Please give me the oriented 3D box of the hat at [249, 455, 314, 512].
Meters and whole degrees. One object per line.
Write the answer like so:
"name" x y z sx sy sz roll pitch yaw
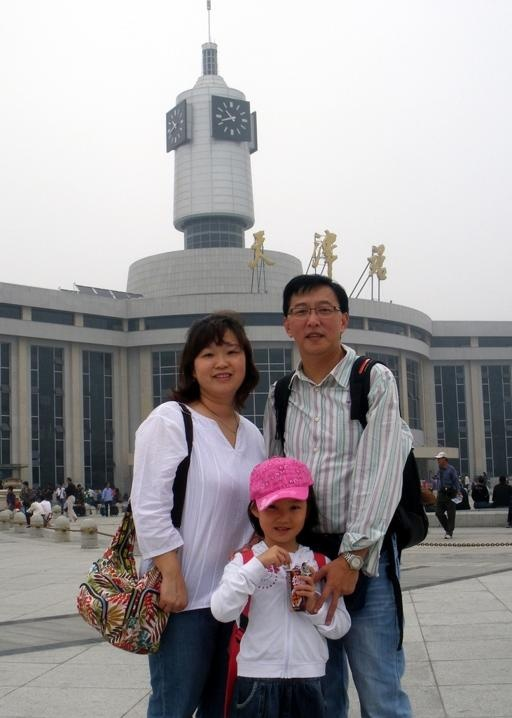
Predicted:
"hat" 0.078 0.441 2.543 0.237 0.179 0.311 -14 -11 16

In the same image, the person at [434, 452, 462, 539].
"person" 3.907 2.856 14.796 0.734 1.714 0.529 -9 -20 31

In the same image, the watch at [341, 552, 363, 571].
"watch" 0.330 0.681 2.448 0.043 0.074 0.070 -35 23 -33

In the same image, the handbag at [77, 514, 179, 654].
"handbag" -0.449 0.749 2.493 0.339 0.474 0.218 5 -11 41

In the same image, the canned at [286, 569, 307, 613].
"canned" 0.139 0.784 2.399 0.048 0.138 0.085 -1 -5 -5
